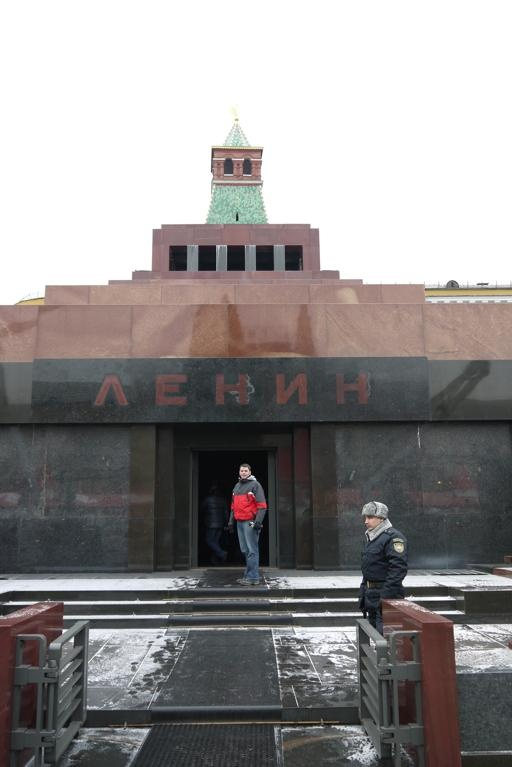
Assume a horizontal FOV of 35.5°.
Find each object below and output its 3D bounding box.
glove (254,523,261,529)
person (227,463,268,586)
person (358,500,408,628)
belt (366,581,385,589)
[{"bbox_3d":[0.021,1.847,10.615,0.065,0.031,0.094,-1,-32,-1],"label":"glove"},{"bbox_3d":[-0.118,1.884,11.064,0.486,1.649,1.076,-2,-10,-2],"label":"person"},{"bbox_3d":[1.176,1.639,7.305,0.414,1.158,0.759,-2,-10,-3],"label":"person"},{"bbox_3d":[1.083,1.825,7.328,0.043,0.061,0.218,5,-13,-37],"label":"belt"}]
